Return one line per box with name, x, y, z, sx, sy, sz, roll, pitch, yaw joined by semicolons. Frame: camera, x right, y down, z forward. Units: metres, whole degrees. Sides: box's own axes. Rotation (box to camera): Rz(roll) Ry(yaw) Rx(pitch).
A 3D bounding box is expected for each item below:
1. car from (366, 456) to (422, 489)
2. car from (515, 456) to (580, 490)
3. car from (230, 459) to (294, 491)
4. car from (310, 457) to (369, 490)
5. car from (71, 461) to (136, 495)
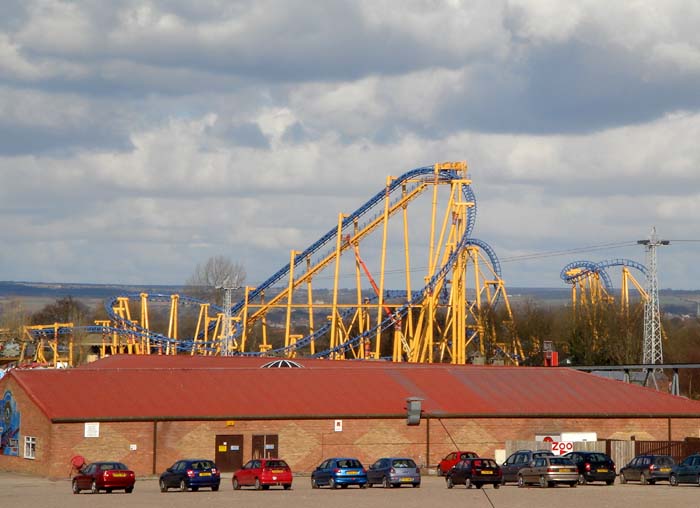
car;2.382;12.225;91.890;2.863;1.686;2.842;1;-8;-11
car;10.801;11.865;89.652;3.298;1.717;3.505;-4;-9;4
car;-4.822;12.112;90.322;3.584;1.639;3.309;2;-9;-19
car;-0.570;12.361;91.761;3.014;1.670;2.871;0;-11;-5
car;-13.498;12.221;89.147;2.816;1.770;1.958;-5;-10;33
